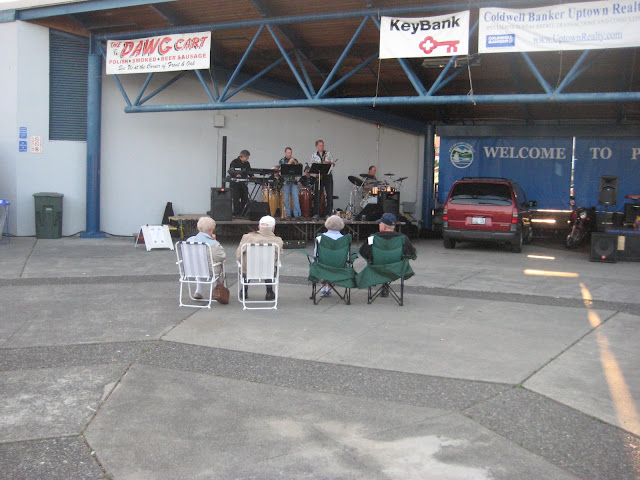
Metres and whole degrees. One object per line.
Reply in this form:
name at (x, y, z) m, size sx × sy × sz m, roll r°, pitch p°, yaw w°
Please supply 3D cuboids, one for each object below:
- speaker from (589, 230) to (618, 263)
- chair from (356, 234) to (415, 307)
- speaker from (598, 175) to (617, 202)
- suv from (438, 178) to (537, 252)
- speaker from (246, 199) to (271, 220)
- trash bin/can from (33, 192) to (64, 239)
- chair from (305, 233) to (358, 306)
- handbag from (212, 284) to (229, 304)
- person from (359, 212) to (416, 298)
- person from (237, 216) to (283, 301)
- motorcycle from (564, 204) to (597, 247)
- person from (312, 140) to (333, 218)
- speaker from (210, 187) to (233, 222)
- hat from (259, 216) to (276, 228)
speaker at (6.763, 0.157, 11.667) m, size 0.644 × 0.627 × 0.686 m, roll 2°, pitch 3°, yaw 27°
chair at (0.913, 0.395, 6.923) m, size 0.809 × 0.988 × 0.478 m, roll 1°, pitch 6°, yaw -3°
speaker at (8.398, -1.455, 14.303) m, size 0.429 × 0.785 × 0.374 m, roll 4°, pitch 7°, yaw 25°
suv at (4.436, -0.699, 13.130) m, size 2.085 × 1.940 × 1.675 m, roll 3°, pitch 6°, yaw 16°
speaker at (-1.683, -0.818, 13.680) m, size 0.738 × 0.498 × 0.687 m, roll 3°, pitch -2°, yaw -11°
trash bin/can at (-7.123, -0.642, 12.969) m, size 0.635 × 1.204 × 0.296 m, roll -2°, pitch 7°, yaw -26°
chair at (0.198, 0.384, 7.192) m, size 0.669 × 0.992 × 0.973 m, roll 1°, pitch 6°, yaw 0°
handbag at (-1.356, 0.743, 6.734) m, size 0.091 × 0.207 × 0.226 m, roll -12°, pitch -25°, yaw 21°
person at (1.026, 0.182, 7.289) m, size 0.905 × 1.159 × 0.566 m, roll 2°, pitch 16°, yaw 6°
person at (-0.859, 0.229, 6.960) m, size 0.697 × 1.136 × 0.619 m, roll 3°, pitch 15°, yaw -8°
motorcycle at (8.022, -0.394, 15.030) m, size 0.711 × 1.228 × 1.908 m, roll 4°, pitch 7°, yaw 29°
person at (0.094, -1.790, 14.063) m, size 0.608 × 2.139 × 1.439 m, roll 1°, pitch 6°, yaw 0°
speaker at (-2.592, -0.952, 13.008) m, size 0.542 × 0.850 × 0.311 m, roll 0°, pitch 6°, yaw -8°
hat at (-0.775, -0.288, 6.956) m, size 0.276 × 0.169 × 0.336 m, roll 5°, pitch 6°, yaw 3°
